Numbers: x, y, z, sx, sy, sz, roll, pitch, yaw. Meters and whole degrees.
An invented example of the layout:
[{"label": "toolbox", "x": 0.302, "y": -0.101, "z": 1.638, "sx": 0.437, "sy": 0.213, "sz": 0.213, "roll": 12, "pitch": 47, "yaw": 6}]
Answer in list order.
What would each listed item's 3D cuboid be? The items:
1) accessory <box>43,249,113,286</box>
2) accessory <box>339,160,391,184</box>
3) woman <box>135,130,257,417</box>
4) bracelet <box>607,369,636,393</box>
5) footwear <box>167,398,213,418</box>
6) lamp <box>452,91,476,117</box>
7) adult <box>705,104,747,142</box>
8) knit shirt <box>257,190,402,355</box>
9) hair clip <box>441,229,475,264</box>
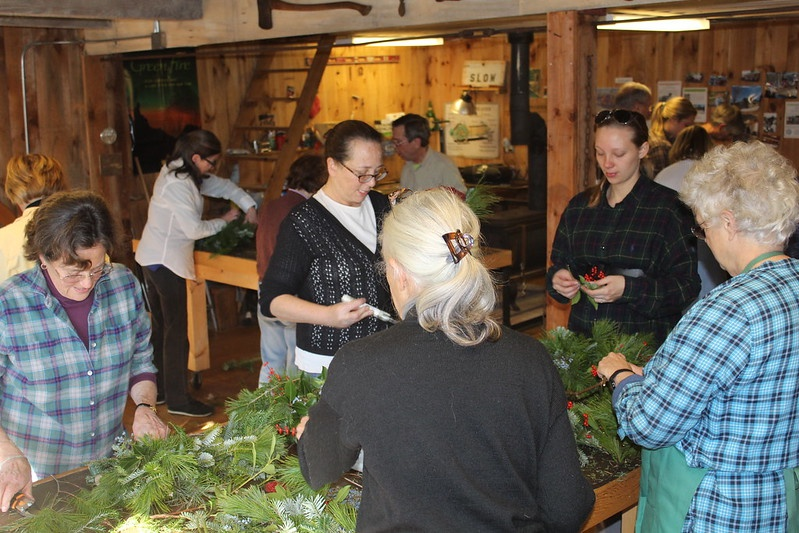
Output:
[{"label": "accessory", "x": -1.259, "y": -0.019, "z": 2.386, "sx": 0.179, "sy": 0.100, "sz": 0.182, "roll": -23, "pitch": 40, "yaw": -38}, {"label": "accessory", "x": -0.135, "y": -0.428, "z": 2.762, "sx": 0.124, "sy": 0.038, "sz": 0.123, "roll": 39, "pitch": 35, "yaw": 27}, {"label": "woman", "x": -1.691, "y": 0.069, "z": 5.176, "sx": 1.090, "sy": 2.300, "sz": 0.809, "roll": -2, "pitch": 14, "yaw": -21}, {"label": "bracelet", "x": 0.794, "y": 0.394, "z": 2.206, "sx": 0.068, "sy": 0.040, "sz": 0.093, "roll": 4, "pitch": 54, "yaw": 47}, {"label": "footwear", "x": -1.687, "y": 1.142, "z": 5.070, "sx": 0.400, "sy": 0.163, "sz": 0.145, "roll": 1, "pitch": 12, "yaw": -1}, {"label": "lamp", "x": 0.793, "y": -2.039, "z": 7.760, "sx": 0.259, "sy": 0.260, "sz": 0.413, "roll": 1, "pitch": 13, "yaw": 4}, {"label": "adult", "x": 3.209, "y": -1.409, "z": 6.107, "sx": 0.315, "sy": 0.370, "sz": 0.649, "roll": 8, "pitch": 15, "yaw": 30}, {"label": "knit shirt", "x": -0.255, "y": 0.041, "z": 2.996, "sx": 0.846, "sy": 0.742, "sz": 0.459, "roll": -7, "pitch": 9, "yaw": -40}, {"label": "hair clip", "x": 0.159, "y": -0.051, "z": 1.630, "sx": 0.093, "sy": 0.086, "sz": 0.030, "roll": -4, "pitch": 14, "yaw": -19}]
